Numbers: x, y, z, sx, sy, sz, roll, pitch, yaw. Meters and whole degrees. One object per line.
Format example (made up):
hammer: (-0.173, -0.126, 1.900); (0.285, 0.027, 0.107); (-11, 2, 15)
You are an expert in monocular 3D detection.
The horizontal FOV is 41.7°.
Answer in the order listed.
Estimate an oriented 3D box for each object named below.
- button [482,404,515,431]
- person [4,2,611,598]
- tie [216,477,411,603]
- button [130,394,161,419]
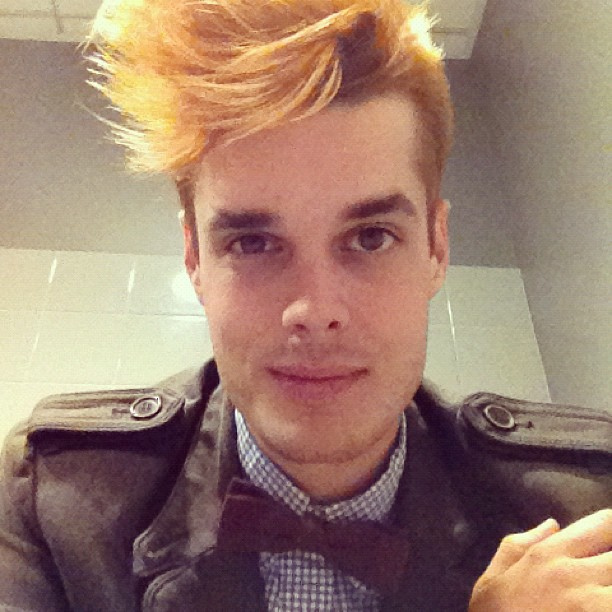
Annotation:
button: (0.332, 0.191, 1.384); (0.043, 0.009, 0.045); (-38, 76, -15)
person: (-0.005, 0.013, 1.317); (1.237, 0.547, 0.866); (-1, 80, -3)
tie: (-0.023, 0.370, 1.377); (0.039, 0.450, 0.149); (-19, 62, 30)
button: (-0.276, 0.174, 1.386); (0.050, 0.019, 0.044); (-4, 53, -2)
